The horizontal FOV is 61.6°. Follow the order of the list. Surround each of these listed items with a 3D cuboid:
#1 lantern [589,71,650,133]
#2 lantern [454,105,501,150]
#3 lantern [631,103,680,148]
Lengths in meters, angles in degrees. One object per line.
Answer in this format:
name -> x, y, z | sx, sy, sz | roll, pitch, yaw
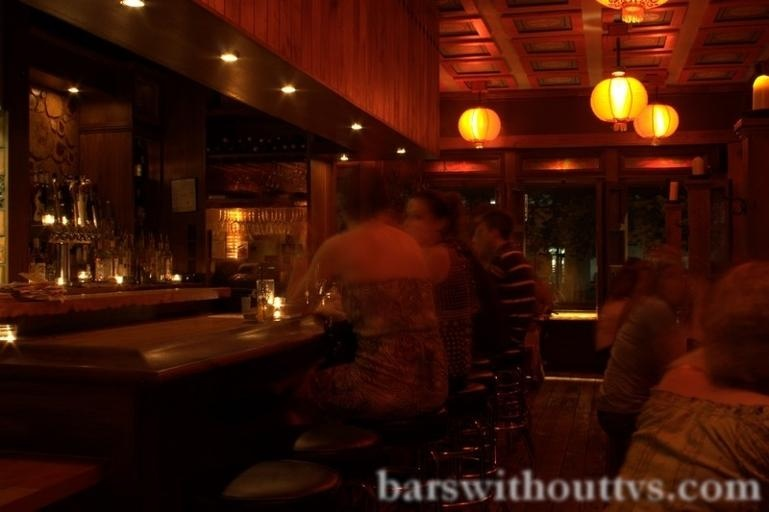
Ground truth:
lantern -> 2.677, -1.768, 7.371 | 0.564, 0.671, 0.590 | -3, 3, -1
lantern -> 1.325, -1.819, 8.955 | 0.659, 0.624, 0.572 | -5, 9, -41
lantern -> 3.650, -1.784, 8.642 | 0.571, 0.671, 0.593 | 5, 1, -5
